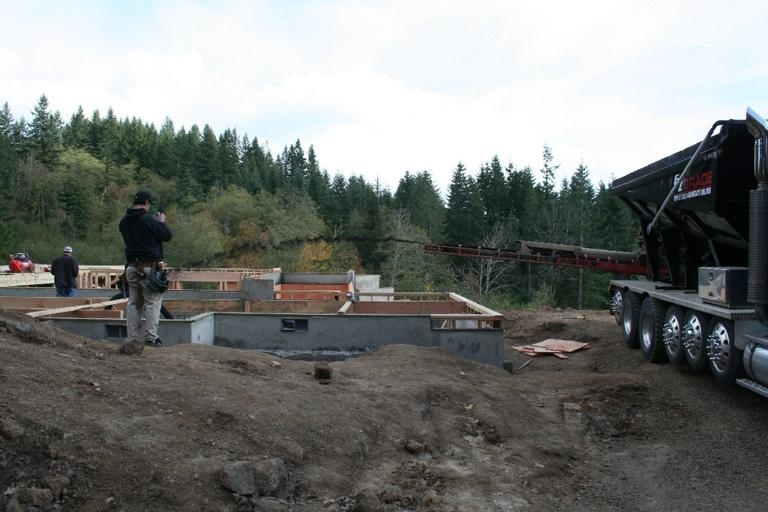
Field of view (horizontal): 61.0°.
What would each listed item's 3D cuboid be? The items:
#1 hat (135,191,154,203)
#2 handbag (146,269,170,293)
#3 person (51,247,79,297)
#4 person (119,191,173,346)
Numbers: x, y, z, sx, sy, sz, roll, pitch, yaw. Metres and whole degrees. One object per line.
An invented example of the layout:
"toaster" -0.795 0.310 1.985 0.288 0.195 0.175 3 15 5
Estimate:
"hat" -4.074 -0.962 10.894 0.209 0.167 0.293 2 16 2
"handbag" -3.674 0.404 10.622 0.288 0.398 0.372 14 -15 2
"person" -8.366 0.420 16.871 0.590 1.324 1.926 -2 1 -27
"person" -3.977 0.209 10.717 0.805 2.580 0.461 -1 2 10
